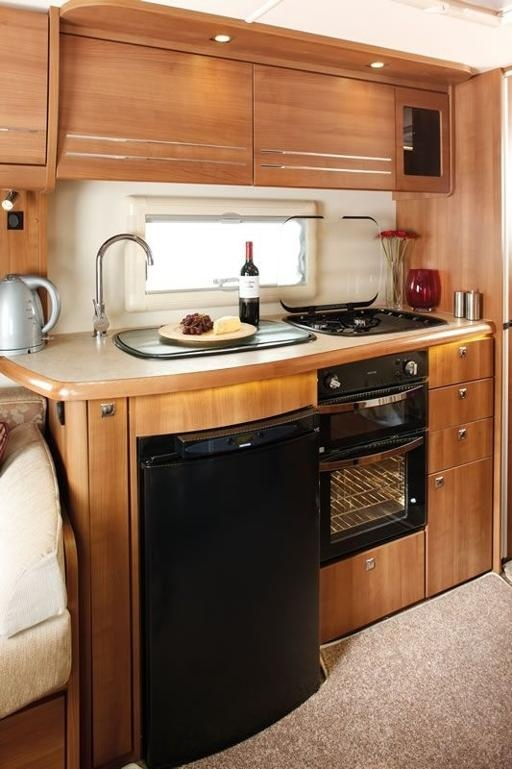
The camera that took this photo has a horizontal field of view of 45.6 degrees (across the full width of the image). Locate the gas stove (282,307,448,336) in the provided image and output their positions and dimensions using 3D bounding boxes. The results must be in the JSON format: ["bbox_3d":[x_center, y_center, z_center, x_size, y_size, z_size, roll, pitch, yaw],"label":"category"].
[{"bbox_3d":[0.402,-0.239,2.304,0.626,0.048,0.478,-10,14,-38],"label":"gas stove"}]

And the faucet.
[{"bbox_3d":[-0.431,-0.324,1.958,0.196,0.325,0.213,-3,10,-13],"label":"faucet"}]

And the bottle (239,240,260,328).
[{"bbox_3d":[-0.034,-0.349,2.120,0.061,0.288,0.147,-3,10,-12],"label":"bottle"}]

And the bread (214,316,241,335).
[{"bbox_3d":[-0.097,-0.182,1.850,0.052,0.036,0.069,8,11,44],"label":"bread"}]

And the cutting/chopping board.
[{"bbox_3d":[-0.114,-0.144,1.903,0.644,0.041,0.463,-6,12,-25],"label":"cutting/chopping board"}]

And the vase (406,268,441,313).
[{"bbox_3d":[0.703,-0.398,2.557,0.153,0.208,0.156,-4,11,-4],"label":"vase"}]

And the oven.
[{"bbox_3d":[0.303,0.207,2.192,0.493,0.665,0.481,-7,13,-13],"label":"oven"}]

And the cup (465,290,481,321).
[{"bbox_3d":[0.851,-0.309,2.390,0.078,0.110,0.060,-9,12,-38],"label":"cup"}]

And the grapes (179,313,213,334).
[{"bbox_3d":[-0.188,-0.190,1.875,0.069,0.030,0.079,-9,22,-25],"label":"grapes"}]

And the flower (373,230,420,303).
[{"bbox_3d":[0.616,-0.515,2.685,0.167,0.346,0.159,-3,10,-12],"label":"flower"}]
